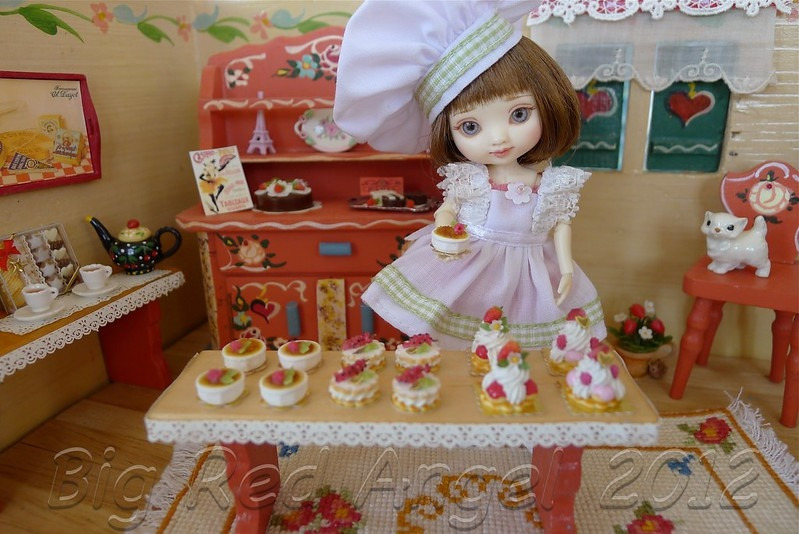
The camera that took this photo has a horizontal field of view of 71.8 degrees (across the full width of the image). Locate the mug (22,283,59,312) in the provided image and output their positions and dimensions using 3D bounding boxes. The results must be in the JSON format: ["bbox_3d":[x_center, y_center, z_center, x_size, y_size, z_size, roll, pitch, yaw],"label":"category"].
[{"bbox_3d":[-2.050,0.167,3.190,0.174,0.119,0.139,4,13,-1],"label":"mug"}]

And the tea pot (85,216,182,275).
[{"bbox_3d":[-1.692,-0.137,3.644,0.534,0.347,0.341,3,20,-8],"label":"tea pot"}]

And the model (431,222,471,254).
[{"bbox_3d":[0.258,-0.144,2.805,0.180,0.124,0.137,-2,26,0],"label":"model"}]

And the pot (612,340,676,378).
[{"bbox_3d":[1.712,0.663,3.932,0.332,0.220,0.308,-1,4,0],"label":"pot"}]

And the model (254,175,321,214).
[{"bbox_3d":[-0.783,-0.490,3.753,0.381,0.185,0.231,1,26,7],"label":"model"}]

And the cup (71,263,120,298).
[{"bbox_3d":[-1.881,0.060,3.407,0.219,0.103,0.209,-1,14,0],"label":"cup"}]
